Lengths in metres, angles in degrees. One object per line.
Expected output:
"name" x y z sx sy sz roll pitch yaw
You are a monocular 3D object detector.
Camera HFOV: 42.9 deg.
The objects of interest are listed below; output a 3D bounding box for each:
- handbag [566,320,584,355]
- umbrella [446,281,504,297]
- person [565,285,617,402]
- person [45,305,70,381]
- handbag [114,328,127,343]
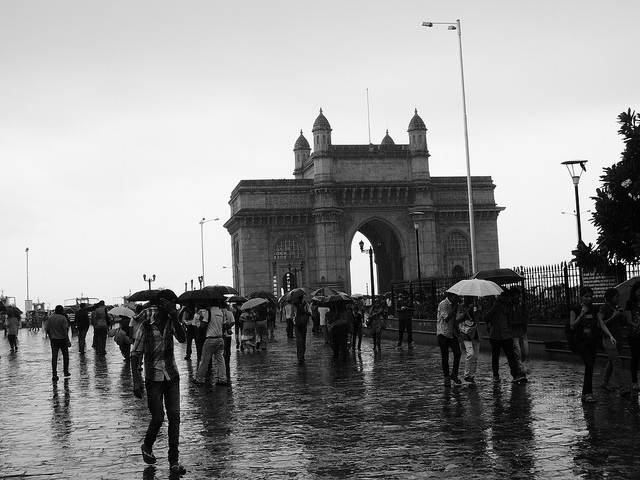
"handbag" 4.607 1.842 14.704 0.145 0.447 0.301 -3 7 -2
"umbrella" 3.342 1.040 17.428 1.254 0.343 0.669 -1 -6 -25
"person" 4.837 1.877 14.692 0.782 2.018 0.913 -7 -6 34
"person" -6.831 2.696 21.263 0.530 1.888 1.478 -1 -6 -20
"handbag" -5.828 2.803 23.685 0.264 0.338 0.117 37 -8 -29
